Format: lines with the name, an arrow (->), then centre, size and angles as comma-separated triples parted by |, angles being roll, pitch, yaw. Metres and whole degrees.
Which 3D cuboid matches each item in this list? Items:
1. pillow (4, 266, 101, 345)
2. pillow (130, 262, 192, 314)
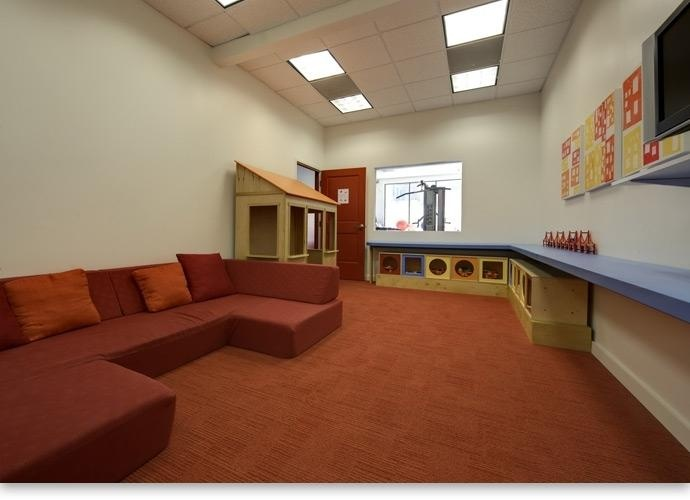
pillow -> -2.368, 0.437, 3.398 | 0.586, 0.483, 0.215 | -8, 12, -44
pillow -> -1.736, 0.313, 4.141 | 0.356, 0.584, 0.703 | 2, 6, 36
